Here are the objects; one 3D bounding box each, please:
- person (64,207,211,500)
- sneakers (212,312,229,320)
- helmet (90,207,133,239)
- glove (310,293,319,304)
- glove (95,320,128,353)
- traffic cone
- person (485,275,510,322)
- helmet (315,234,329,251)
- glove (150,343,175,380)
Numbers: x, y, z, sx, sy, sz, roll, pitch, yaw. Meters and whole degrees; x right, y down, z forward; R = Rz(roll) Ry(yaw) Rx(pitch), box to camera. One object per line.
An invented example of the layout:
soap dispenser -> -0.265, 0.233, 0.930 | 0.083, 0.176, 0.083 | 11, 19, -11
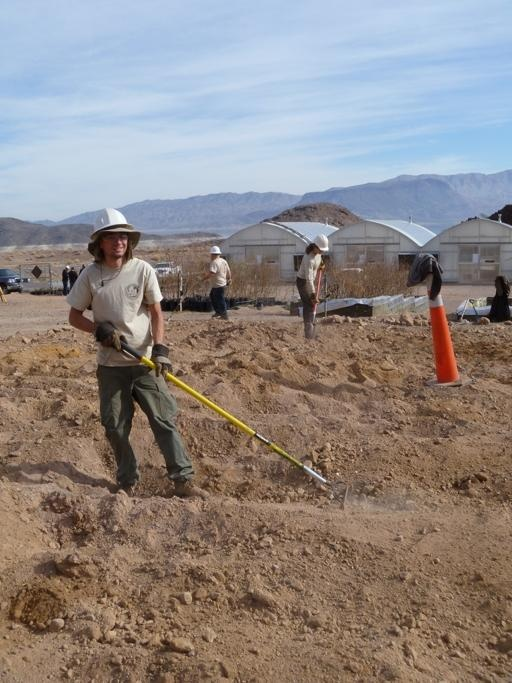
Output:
person -> -0.756, 0.136, 3.598 | 0.625, 1.849, 0.674 | -11, 14, -37
sneakers -> -0.738, -0.544, 12.012 | 0.141, 0.172, 0.407 | -6, 13, -30
helmet -> -0.818, -0.676, 3.365 | 0.248, 0.164, 0.343 | -5, 10, -10
glove -> 0.839, -0.610, 8.339 | 0.037, 0.139, 0.104 | -4, 13, -16
glove -> -0.810, -0.033, 3.396 | 0.140, 0.183, 0.082 | -14, 41, 36
traffic cone -> 1.816, -0.116, 5.528 | 0.367, 1.027, 0.414 | -1, 11, 10
person -> 4.224, -0.738, 10.195 | 0.358, 0.873, 1.092 | 1, 11, 20
helmet -> 0.914, -1.399, 8.316 | 0.195, 0.160, 0.257 | -6, 45, -27
glove -> -0.560, 0.119, 3.518 | 0.122, 0.192, 0.091 | -8, -11, 15
